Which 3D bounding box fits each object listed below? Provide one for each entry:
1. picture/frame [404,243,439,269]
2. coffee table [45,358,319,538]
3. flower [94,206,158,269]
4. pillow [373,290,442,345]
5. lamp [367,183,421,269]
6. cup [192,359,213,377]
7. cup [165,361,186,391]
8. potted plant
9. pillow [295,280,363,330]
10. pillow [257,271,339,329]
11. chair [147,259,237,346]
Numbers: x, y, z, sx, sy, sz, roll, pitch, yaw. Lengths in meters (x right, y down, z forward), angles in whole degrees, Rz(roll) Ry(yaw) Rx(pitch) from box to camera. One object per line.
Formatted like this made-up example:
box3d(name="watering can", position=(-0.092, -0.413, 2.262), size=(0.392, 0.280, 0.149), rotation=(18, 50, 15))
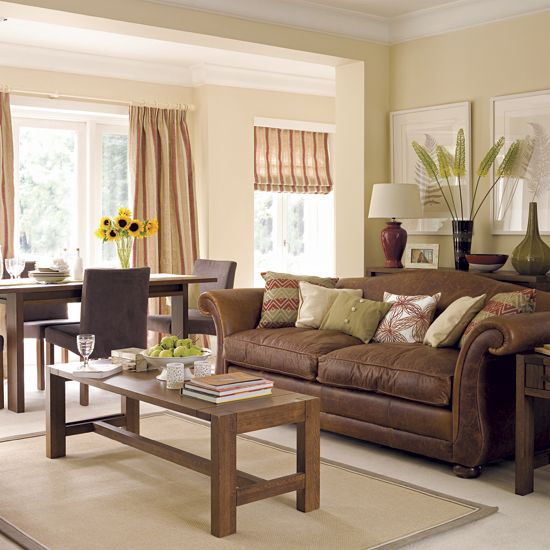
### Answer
box3d(name="picture/frame", position=(1.228, -0.157, 4.707), size=(0.255, 0.166, 0.016), rotation=(2, -9, 42))
box3d(name="coffee table", position=(-0.479, 0.666, 2.463), size=(0.532, 0.453, 1.404), rotation=(2, -2, -45))
box3d(name="flower", position=(-1.204, -0.273, 4.481), size=(0.559, 0.449, 0.524), rotation=(7, 10, 29))
box3d(name="pillow", position=(0.786, 0.242, 3.307), size=(0.110, 0.314, 0.346), rotation=(33, -14, -36))
box3d(name="lamp", position=(0.983, -0.396, 4.593), size=(0.411, 0.679, 0.487), rotation=(0, -1, 13))
box3d(name="cup", position=(-0.303, 0.384, 2.328), size=(0.082, 0.051, 0.077), rotation=(1, -2, 0))
box3d(name="cup", position=(-0.400, 0.409, 2.256), size=(0.100, 0.096, 0.096), rotation=(1, 0, 0))
box3d(name="potted plant", position=(1.447, -0.576, 4.546), size=(0.821, 0.912, 0.842), rotation=(-4, 0, -39))
box3d(name="pillow", position=(0.338, 0.248, 3.899), size=(0.367, 0.317, 0.105), rotation=(4, -32, 36))
box3d(name="pillow", position=(0.096, 0.200, 4.033), size=(0.465, 0.389, 0.130), rotation=(0, -31, 29))
box3d(name="chair", position=(-0.732, 0.329, 4.839), size=(0.652, 0.859, 0.590), rotation=(-6, 9, -39))
